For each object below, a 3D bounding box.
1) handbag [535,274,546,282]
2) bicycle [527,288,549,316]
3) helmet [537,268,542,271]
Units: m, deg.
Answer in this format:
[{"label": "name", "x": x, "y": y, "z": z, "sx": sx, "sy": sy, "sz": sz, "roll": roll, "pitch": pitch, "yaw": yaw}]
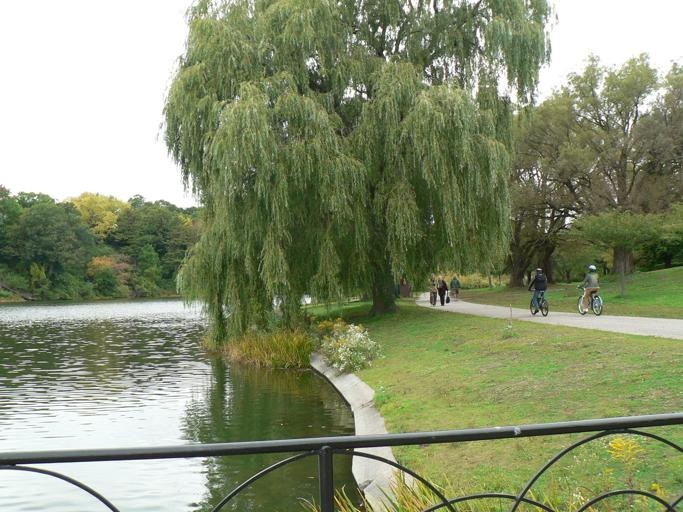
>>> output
[{"label": "handbag", "x": 7.675, "y": 0.842, "z": 24.889, "sx": 0.489, "sy": 0.247, "sz": 0.336, "roll": -1, "pitch": -2, "yaw": -33}, {"label": "bicycle", "x": 7.877, "y": 1.838, "z": 25.184, "sx": 0.566, "sy": 0.842, "sz": 1.286, "roll": 0, "pitch": 7, "yaw": 1}, {"label": "helmet", "x": 10.942, "y": 0.729, "z": 35.413, "sx": 0.319, "sy": 0.136, "sz": 0.365, "roll": -5, "pitch": 6, "yaw": -17}]
